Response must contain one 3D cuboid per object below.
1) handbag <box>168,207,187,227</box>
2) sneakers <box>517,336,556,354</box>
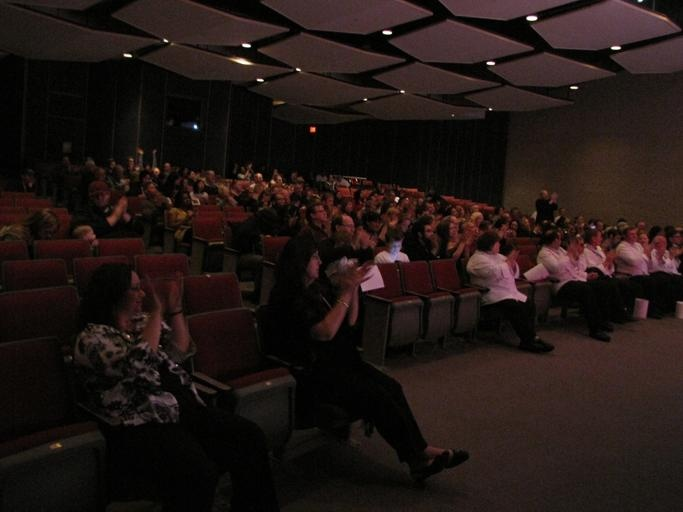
[{"bbox_3d":[-2.691,-0.648,7.616,0.268,0.151,0.326,2,18,-15],"label":"handbag"},{"bbox_3d":[2.187,0.993,5.294,0.411,0.207,0.162,-2,1,24],"label":"sneakers"}]
